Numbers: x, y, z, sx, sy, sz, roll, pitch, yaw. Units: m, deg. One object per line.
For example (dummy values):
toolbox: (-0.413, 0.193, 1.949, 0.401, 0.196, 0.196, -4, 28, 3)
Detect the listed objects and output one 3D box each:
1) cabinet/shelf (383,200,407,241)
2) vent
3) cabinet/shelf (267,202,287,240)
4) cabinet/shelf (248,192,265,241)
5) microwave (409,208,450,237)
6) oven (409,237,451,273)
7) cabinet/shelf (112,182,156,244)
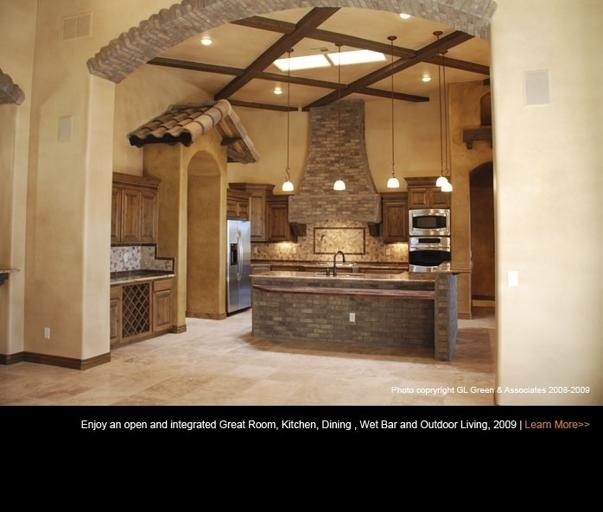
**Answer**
cabinet/shelf: (1.901, -0.710, 10.668, 0.492, 0.839, 0.162, 2, 6, 14)
vent: (0.788, -1.974, 11.062, 2.539, 3.264, 1.087, -1, -4, 17)
cabinet/shelf: (-0.497, -0.770, 11.553, 0.446, 0.840, 0.121, 1, 6, -2)
cabinet/shelf: (-0.944, -0.860, 11.502, 0.341, 1.025, 0.130, 0, 6, -10)
microwave: (2.391, -0.640, 9.915, 0.737, 0.468, 0.494, 0, -2, 26)
oven: (2.391, -0.062, 9.905, 0.969, 0.881, 0.635, -1, -3, 23)
cabinet/shelf: (-2.512, -0.655, 7.830, 0.363, 0.873, 0.949, 0, -1, 19)
